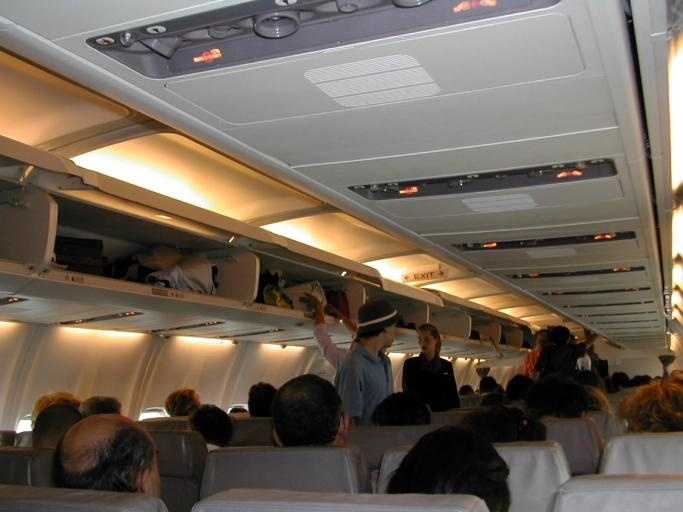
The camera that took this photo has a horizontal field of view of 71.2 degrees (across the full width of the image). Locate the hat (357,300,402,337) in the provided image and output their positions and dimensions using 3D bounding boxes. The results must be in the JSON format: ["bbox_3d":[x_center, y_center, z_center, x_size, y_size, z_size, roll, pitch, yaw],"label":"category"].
[{"bbox_3d":[0.333,0.634,4.938,0.427,0.202,0.358,-30,15,-21],"label":"hat"}]
